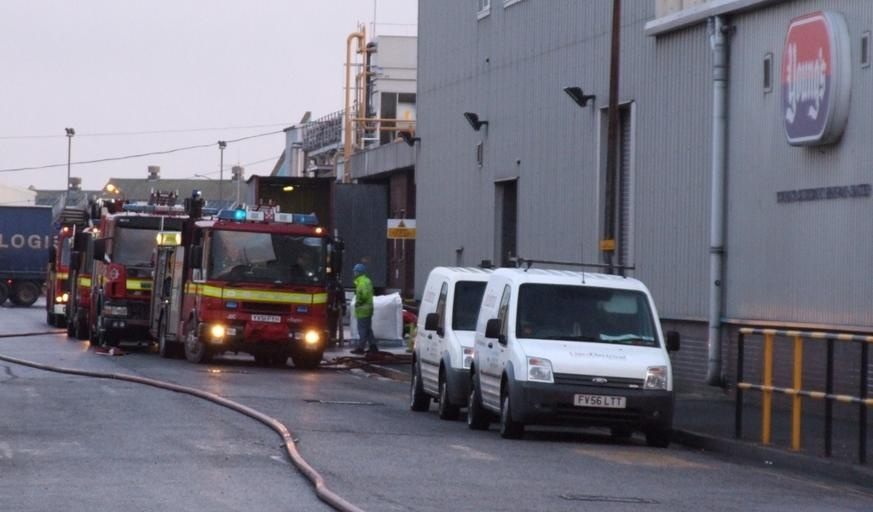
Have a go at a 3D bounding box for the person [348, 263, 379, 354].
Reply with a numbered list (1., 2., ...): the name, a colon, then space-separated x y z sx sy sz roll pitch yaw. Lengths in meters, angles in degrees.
1. person: -2.055 1.552 36.726 0.692 2.566 0.910 0 0 -19

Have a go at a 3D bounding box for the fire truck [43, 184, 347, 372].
1. fire truck: -7.420 0.650 36.345 4.060 4.717 12.187 3 -2 -37
